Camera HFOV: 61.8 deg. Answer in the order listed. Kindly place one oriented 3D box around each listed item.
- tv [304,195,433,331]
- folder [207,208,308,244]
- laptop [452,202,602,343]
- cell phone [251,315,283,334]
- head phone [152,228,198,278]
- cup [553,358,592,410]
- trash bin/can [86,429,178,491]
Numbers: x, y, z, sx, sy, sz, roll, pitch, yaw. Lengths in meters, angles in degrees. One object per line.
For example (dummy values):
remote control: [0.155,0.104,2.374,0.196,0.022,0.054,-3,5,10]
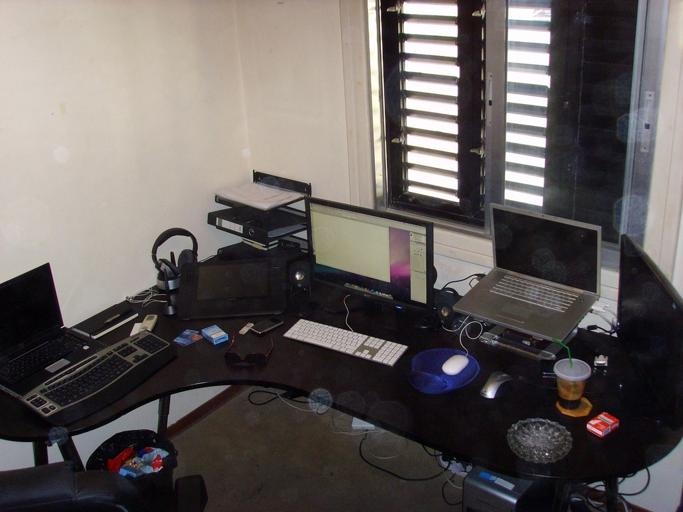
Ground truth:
tv: [0.147,-0.007,2.537,0.642,0.482,0.182,14,30,31]
folder: [-0.430,-0.188,3.004,0.301,0.073,0.281,14,21,34]
laptop: [0.729,0.054,2.261,0.394,0.341,0.504,-29,33,-32]
cell phone: [-0.332,0.309,2.560,0.094,0.018,0.166,12,22,29]
head phone: [-0.833,-0.016,2.821,0.187,0.211,0.088,-24,42,-38]
cup: [0.822,0.473,2.067,0.138,0.147,0.132,3,8,0]
trash bin/can: [-1.047,0.963,2.797,0.207,0.203,0.234,-22,5,-29]
